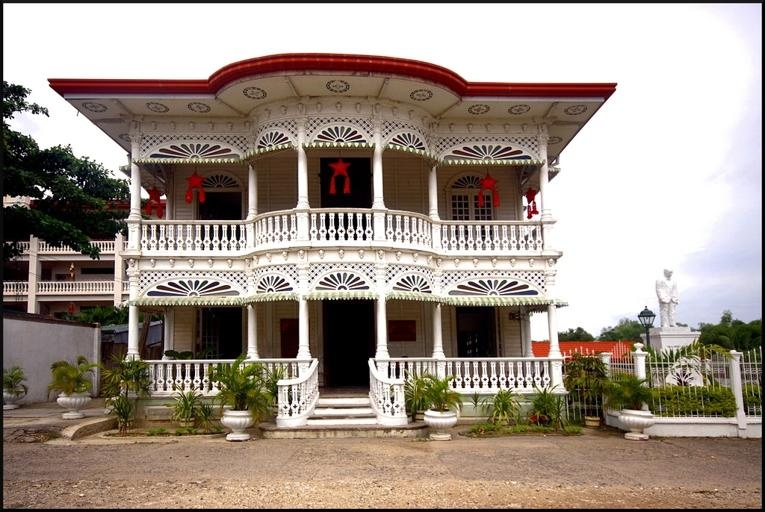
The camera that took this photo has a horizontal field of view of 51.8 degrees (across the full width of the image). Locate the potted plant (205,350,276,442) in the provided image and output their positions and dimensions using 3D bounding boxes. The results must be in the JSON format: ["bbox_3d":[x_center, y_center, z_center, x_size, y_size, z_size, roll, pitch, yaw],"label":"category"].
[{"bbox_3d":[-4.008,4.204,22.731,2.381,2.571,2.243,2,-18,-5],"label":"potted plant"}]

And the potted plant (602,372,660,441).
[{"bbox_3d":[7.230,4.257,22.505,1.530,1.827,1.448,5,-9,-35],"label":"potted plant"}]

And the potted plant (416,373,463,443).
[{"bbox_3d":[1.626,4.258,22.074,1.033,1.816,0.888,0,-13,0],"label":"potted plant"}]

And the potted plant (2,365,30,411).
[{"bbox_3d":[-12.097,4.371,25.903,0.712,1.389,1.754,6,-13,-22],"label":"potted plant"}]
